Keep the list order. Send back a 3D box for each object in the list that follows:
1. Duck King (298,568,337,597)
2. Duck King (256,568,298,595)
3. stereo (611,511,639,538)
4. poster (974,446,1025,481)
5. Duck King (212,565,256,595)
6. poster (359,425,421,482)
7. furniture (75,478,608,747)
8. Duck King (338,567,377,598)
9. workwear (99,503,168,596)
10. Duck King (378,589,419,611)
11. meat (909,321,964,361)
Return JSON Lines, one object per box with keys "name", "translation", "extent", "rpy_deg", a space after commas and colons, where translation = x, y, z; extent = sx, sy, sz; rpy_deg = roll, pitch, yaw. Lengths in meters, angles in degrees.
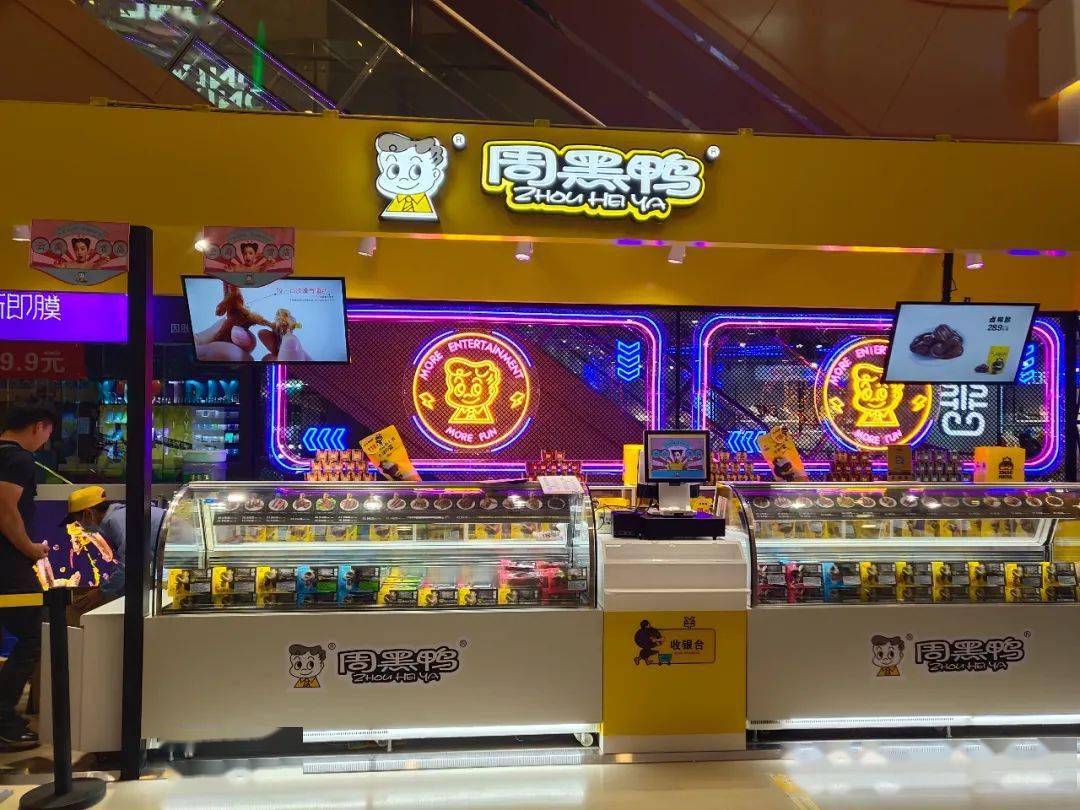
{"name": "Duck King", "translation": [-1.514, 1.225, 9.119], "extent": [0.346, 0.234, 0.186], "rpy_deg": [1, -1, -2]}
{"name": "Duck King", "translation": [-1.800, 1.210, 9.077], "extent": [0.316, 0.205, 0.169], "rpy_deg": [1, 0, -3]}
{"name": "stereo", "translation": [0.600, 0.843, 9.326], "extent": [0.187, 0.152, 0.177], "rpy_deg": [1, -2, 4]}
{"name": "poster", "translation": [3.630, 0.473, 10.551], "extent": [0.342, 0.325, 0.343], "rpy_deg": [1, -3, 0]}
{"name": "Duck King", "translation": [-2.084, 1.211, 9.046], "extent": [0.334, 0.214, 0.177], "rpy_deg": [1, -1, -3]}
{"name": "poster", "translation": [-1.143, 0.373, 10.098], "extent": [0.407, 0.407, 0.448], "rpy_deg": [0, 1, -7]}
{"name": "furniture", "translation": [-1.531, 1.611, 9.617], "extent": [3.694, 1.787, 1.394], "rpy_deg": [2, -12, -21]}
{"name": "Duck King", "translation": [-1.223, 1.233, 9.190], "extent": [0.341, 0.288, 0.185], "rpy_deg": [1, 0, -3]}
{"name": "workwear", "translation": [-2.982, 1.033, 9.707], "extent": [0.291, 0.713, 0.732], "rpy_deg": [2, -1, 5]}
{"name": "Duck King", "translation": [-0.947, 1.340, 9.055], "extent": [0.226, 0.117, 0.140], "rpy_deg": [1, 3, -1]}
{"name": "meat", "translation": [3.142, -0.496, 10.516], "extent": [0.344, 0.141, 0.277], "rpy_deg": [-23, 42, -16]}
